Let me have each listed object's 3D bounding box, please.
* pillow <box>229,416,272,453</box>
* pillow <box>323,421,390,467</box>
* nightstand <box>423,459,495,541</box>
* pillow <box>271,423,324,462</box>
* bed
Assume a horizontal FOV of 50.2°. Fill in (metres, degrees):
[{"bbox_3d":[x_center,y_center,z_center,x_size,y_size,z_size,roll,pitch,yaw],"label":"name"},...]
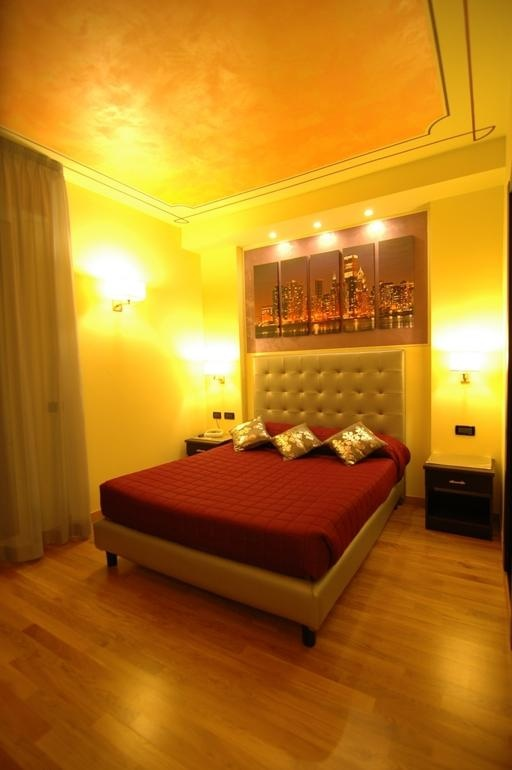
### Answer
[{"bbox_3d":[-0.053,0.409,4.361,0.207,0.091,0.341,-28,14,2],"label":"pillow"},{"bbox_3d":[0.700,0.414,3.829,0.280,0.080,0.291,-30,33,-14],"label":"pillow"},{"bbox_3d":[1.364,0.701,3.665,0.445,0.470,0.470,4,16,25],"label":"nightstand"},{"bbox_3d":[0.297,0.426,4.054,0.233,0.074,0.247,-23,29,-9],"label":"pillow"},{"bbox_3d":[0.254,0.550,3.577,1.490,1.276,1.928,1,1,33],"label":"bed"}]
